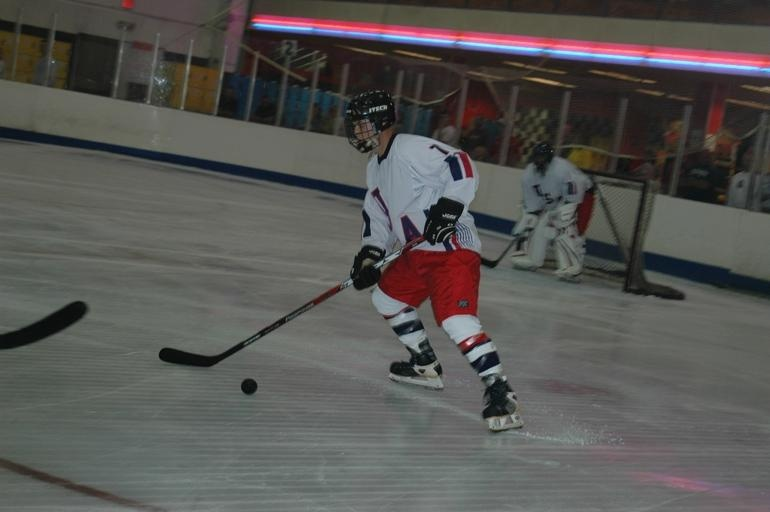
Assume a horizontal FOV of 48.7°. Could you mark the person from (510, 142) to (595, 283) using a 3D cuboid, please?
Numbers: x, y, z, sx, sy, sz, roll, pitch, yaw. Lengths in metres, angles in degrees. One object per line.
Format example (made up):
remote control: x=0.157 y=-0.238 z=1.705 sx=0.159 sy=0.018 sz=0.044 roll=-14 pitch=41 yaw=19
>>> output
person: x=1.470 y=-0.401 z=7.416 sx=0.665 sy=1.126 sz=0.629 roll=10 pitch=9 yaw=6

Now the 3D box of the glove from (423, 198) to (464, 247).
glove: x=0.271 y=-0.164 z=4.170 sx=0.162 sy=0.241 sz=0.059 roll=29 pitch=0 yaw=-2

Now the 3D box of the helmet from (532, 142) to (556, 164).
helmet: x=1.371 y=-0.898 z=7.446 sx=0.166 sy=0.196 sz=0.212 roll=6 pitch=8 yaw=-17

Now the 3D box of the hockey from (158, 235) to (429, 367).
hockey: x=-0.559 y=0.286 z=4.962 sx=1.495 sy=0.149 sz=0.219 roll=-23 pitch=-10 yaw=-5

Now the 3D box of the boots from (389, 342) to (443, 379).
boots: x=0.147 y=0.564 z=4.491 sx=0.360 sy=0.200 sz=0.119 roll=-1 pitch=8 yaw=37

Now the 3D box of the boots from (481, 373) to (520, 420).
boots: x=0.552 y=0.684 z=4.113 sx=0.167 sy=0.200 sz=0.115 roll=8 pitch=9 yaw=-5

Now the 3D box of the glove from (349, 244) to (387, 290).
glove: x=-0.098 y=0.062 z=4.413 sx=0.096 sy=0.180 sz=0.227 roll=42 pitch=24 yaw=-23

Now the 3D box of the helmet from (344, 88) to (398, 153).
helmet: x=-0.071 y=-0.704 z=4.424 sx=0.307 sy=0.267 sz=0.226 roll=-19 pitch=19 yaw=-25

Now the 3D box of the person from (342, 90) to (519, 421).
person: x=0.216 y=-0.021 z=4.334 sx=1.248 sy=1.591 sz=0.392 roll=14 pitch=10 yaw=30
